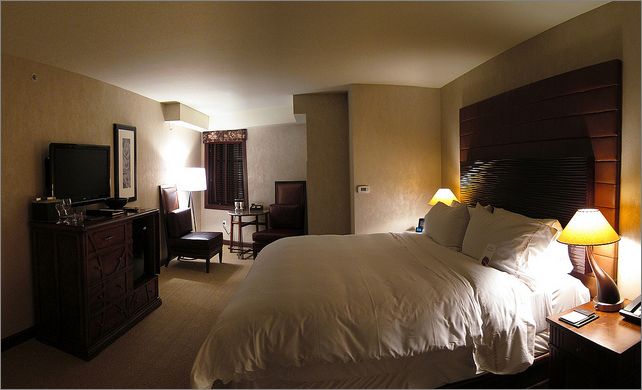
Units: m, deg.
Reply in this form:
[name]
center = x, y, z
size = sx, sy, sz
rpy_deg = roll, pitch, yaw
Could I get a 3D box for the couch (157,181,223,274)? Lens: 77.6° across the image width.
[couch]
center = -2.342, 0.558, 7.231
size = 1.042, 1.350, 0.895
rpy_deg = 4, 6, -6

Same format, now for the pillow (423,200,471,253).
[pillow]
center = 1.777, 0.437, 5.633
size = 0.350, 0.663, 1.000
rpy_deg = 17, 2, -7

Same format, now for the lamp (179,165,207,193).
[lamp]
center = -2.485, -0.308, 7.616
size = 0.447, 0.449, 0.439
rpy_deg = -7, 13, -37

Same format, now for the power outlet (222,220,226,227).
[power outlet]
center = -2.026, 0.592, 8.299
size = 0.089, 0.128, 0.030
rpy_deg = 1, 3, 15

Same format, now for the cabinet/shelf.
[cabinet/shelf]
center = -3.129, 1.085, 5.667
size = 0.959, 1.686, 1.494
rpy_deg = 6, 11, 7
